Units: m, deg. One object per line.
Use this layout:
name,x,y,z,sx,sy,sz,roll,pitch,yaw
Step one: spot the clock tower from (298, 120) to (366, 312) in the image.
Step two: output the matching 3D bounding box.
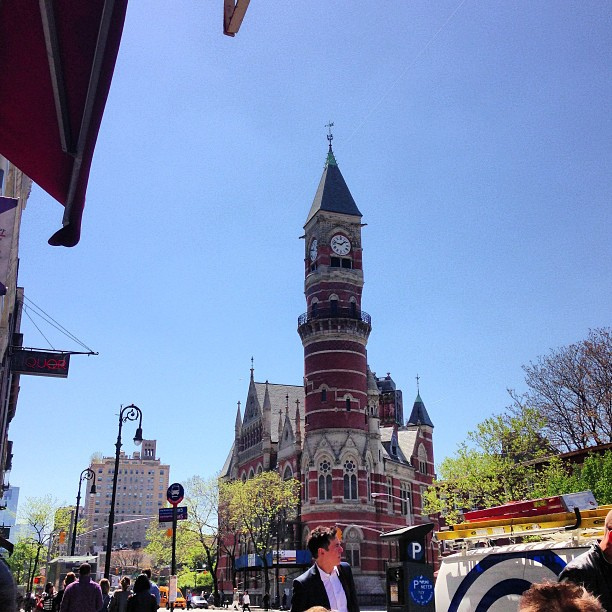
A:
clock tower,2.696,-9.747,61.723,5.603,21.274,2.920,-4,-22,3

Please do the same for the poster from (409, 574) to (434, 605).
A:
poster,2.634,6.429,13.186,0.237,0.621,0.894,-19,-30,33

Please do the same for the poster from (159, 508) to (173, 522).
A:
poster,-6.189,9.281,25.829,0.138,0.853,0.987,5,-9,-38

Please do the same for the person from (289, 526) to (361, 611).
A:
person,0.176,2.223,4.956,0.430,0.695,0.712,-22,-31,37

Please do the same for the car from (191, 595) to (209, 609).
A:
car,-10.458,28.693,56.248,1.045,1.060,2.790,6,-25,-20

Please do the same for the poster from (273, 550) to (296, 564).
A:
poster,-2.006,23.350,54.087,2.130,1.287,1.747,4,-27,-14

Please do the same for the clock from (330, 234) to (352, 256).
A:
clock,3.523,-6.243,60.026,1.754,2.210,0.196,7,-27,-21
